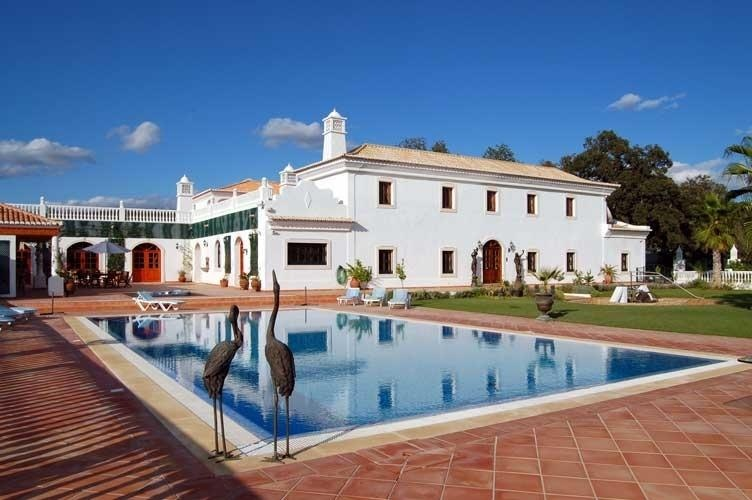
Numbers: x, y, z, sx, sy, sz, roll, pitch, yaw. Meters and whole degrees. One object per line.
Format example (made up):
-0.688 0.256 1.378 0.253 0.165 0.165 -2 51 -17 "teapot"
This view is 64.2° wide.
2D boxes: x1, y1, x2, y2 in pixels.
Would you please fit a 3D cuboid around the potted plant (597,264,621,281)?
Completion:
15.522 1.582 40.161 1.168 1.222 1.204 -3 -8 33 "potted plant"

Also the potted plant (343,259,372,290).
-0.946 1.244 30.524 1.367 1.432 1.397 -3 0 -2 "potted plant"

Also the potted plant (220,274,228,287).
-8.525 1.703 33.561 0.402 0.699 1.058 0 -2 -14 "potted plant"

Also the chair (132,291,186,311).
-8.409 2.050 22.959 1.591 0.540 0.886 1 1 -5 "chair"
